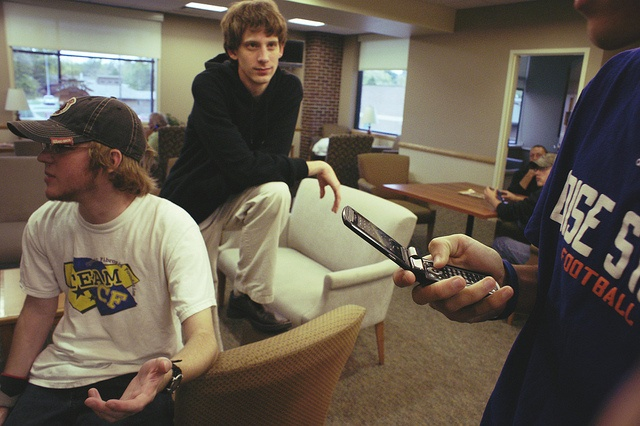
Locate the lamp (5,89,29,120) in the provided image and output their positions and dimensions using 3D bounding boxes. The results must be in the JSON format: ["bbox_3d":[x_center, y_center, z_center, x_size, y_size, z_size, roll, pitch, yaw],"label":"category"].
[{"bbox_3d":[-4.527,-1.624,7.763,0.356,0.583,0.372,-8,22,-29],"label":"lamp"}]

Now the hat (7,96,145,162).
[{"bbox_3d":[-0.934,-0.299,2.016,0.425,0.209,0.258,6,8,-34],"label":"hat"}]

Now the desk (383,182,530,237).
[{"bbox_3d":[1.211,-0.132,4.841,0.730,0.449,0.725,7,28,-18],"label":"desk"}]

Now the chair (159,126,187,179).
[{"bbox_3d":[-1.752,-0.751,6.178,0.318,0.315,0.490,1,54,-12],"label":"chair"}]

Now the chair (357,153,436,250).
[{"bbox_3d":[0.852,-0.104,5.824,0.817,1.067,0.843,-1,15,-5],"label":"chair"}]

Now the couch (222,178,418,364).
[{"bbox_3d":[-0.103,0.356,3.418,0.746,1.007,1.236,-7,19,-35],"label":"couch"}]
